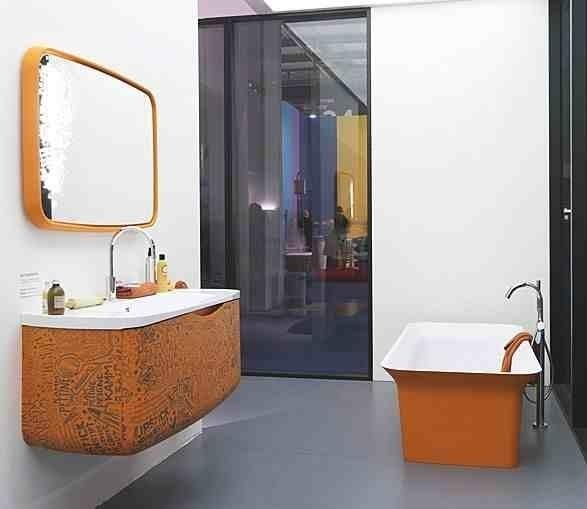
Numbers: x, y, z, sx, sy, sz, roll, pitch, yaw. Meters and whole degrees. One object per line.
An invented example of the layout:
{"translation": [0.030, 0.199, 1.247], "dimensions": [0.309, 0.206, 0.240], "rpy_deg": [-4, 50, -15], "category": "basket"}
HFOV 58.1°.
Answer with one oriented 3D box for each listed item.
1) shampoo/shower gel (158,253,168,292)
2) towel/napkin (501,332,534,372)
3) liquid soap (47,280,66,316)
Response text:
{"translation": [-0.713, 0.096, 2.908], "dimensions": [0.047, 0.199, 0.147], "rpy_deg": [0, 3, 2], "category": "shampoo/shower gel"}
{"translation": [1.386, 0.592, 3.314], "dimensions": [0.062, 0.290, 0.206], "rpy_deg": [14, -21, 10], "category": "towel/napkin"}
{"translation": [-0.966, 0.173, 2.151], "dimensions": [0.066, 0.135, 0.076], "rpy_deg": [2, 4, -6], "category": "liquid soap"}
